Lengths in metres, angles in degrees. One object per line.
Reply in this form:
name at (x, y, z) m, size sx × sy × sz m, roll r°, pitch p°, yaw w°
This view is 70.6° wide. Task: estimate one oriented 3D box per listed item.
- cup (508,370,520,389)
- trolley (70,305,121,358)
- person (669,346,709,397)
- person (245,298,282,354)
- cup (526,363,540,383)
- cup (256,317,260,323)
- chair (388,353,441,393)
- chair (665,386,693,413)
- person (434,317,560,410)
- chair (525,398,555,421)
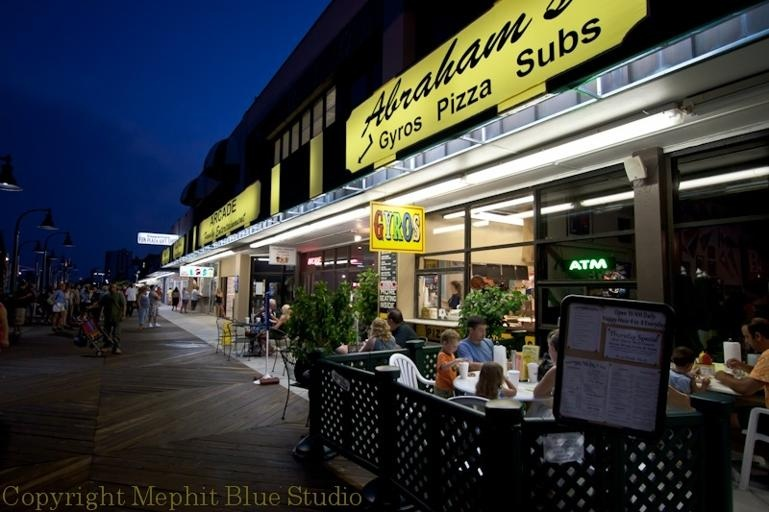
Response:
cup at (1.609, 1.550, 6.790) m, size 0.181 × 0.259 × 0.183 m, roll 2°, pitch -6°, yaw 0°
trolley at (-7.273, 1.915, 13.717) m, size 0.985 × 1.075 × 0.672 m, roll -7°, pitch 4°, yaw -26°
person at (3.680, 1.372, 6.554) m, size 0.383 × 0.537 × 1.035 m, roll 4°, pitch 6°, yaw 36°
person at (-3.238, 1.879, 13.423) m, size 0.839 × 1.385 × 0.778 m, roll -3°, pitch -12°, yaw -6°
cup at (1.888, 1.507, 6.973) m, size 0.222 × 0.271 × 0.216 m, roll 1°, pitch -7°, yaw 0°
cup at (-3.633, 1.841, 15.522) m, size 0.091 × 0.109 × 0.166 m, roll 8°, pitch -12°, yaw -33°
chair at (0.414, 1.709, 7.805) m, size 0.421 × 0.691 × 0.877 m, roll 4°, pitch 6°, yaw 40°
chair at (2.704, 1.360, 4.970) m, size 0.189 × 0.169 × 0.555 m, roll 3°, pitch 5°, yaw 27°
person at (1.467, 1.398, 6.471) m, size 1.173 × 1.201 × 1.213 m, roll 10°, pitch -14°, yaw -32°
chair at (1.692, 1.663, 5.942) m, size 0.399 × 0.244 × 0.400 m, roll -1°, pitch -5°, yaw 4°
